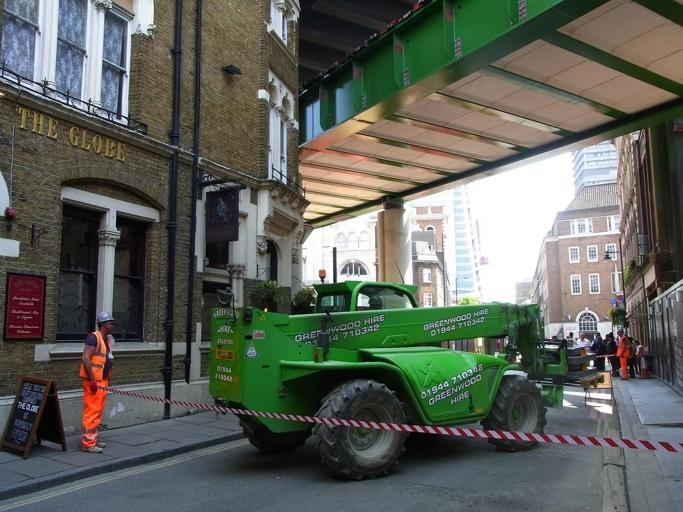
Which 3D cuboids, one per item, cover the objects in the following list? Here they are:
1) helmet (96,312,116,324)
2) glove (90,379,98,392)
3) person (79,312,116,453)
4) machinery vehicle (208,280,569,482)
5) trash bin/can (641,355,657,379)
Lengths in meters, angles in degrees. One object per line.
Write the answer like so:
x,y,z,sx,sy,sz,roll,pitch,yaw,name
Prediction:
-4.405,1.145,10.336,0.382,0.206,0.303,-3,0,-18,helmet
-4.412,2.310,9.870,0.116,0.206,0.072,4,-8,-26,glove
-4.485,2.291,10.132,0.504,2.501,0.600,3,-8,-25,person
0.872,2.044,10.722,6.441,2.900,3.092,3,-9,-32,machinery vehicle
14.294,5.141,25.986,0.568,1.010,1.227,-4,-8,28,trash bin/can
